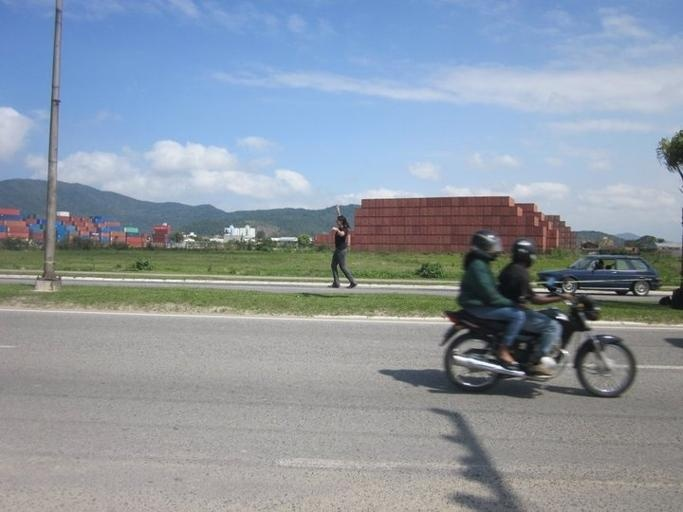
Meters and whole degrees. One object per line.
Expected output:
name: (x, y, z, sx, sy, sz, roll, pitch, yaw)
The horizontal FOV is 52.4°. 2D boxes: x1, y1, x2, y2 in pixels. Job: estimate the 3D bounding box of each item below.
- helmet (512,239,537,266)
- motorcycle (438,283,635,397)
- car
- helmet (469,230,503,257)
helmet: (2.528, -0.058, 9.581, 0.408, 0.373, 0.294, 2, 5, -20)
motorcycle: (2.673, 1.127, 9.461, 2.622, 1.483, 0.987, 1, -5, 6)
car: (9.657, 0.694, 25.269, 3.338, 1.037, 1.459, 4, -4, 9)
helmet: (2.025, -0.197, 9.639, 0.432, 0.368, 0.326, -8, 6, -8)
